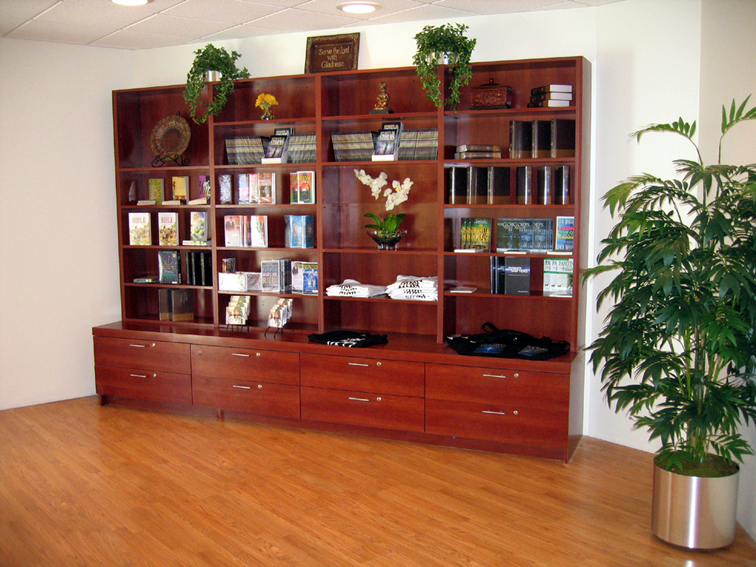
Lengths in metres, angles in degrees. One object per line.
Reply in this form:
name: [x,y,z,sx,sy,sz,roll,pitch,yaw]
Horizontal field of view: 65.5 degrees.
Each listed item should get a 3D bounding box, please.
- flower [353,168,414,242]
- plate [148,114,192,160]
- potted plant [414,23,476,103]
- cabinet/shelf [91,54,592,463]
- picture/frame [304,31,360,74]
flower: [0.046,-0.687,5.361,0.559,0.719,0.407,-1,6,7]
plate: [-2.089,-1.463,5.924,0.504,0.428,0.080,-5,-4,21]
potted plant: [0.553,-1.798,4.884,0.486,0.670,0.179,-2,6,-9]
cabinet/shelf: [-0.191,-0.175,5.263,4.376,2.480,0.810,1,4,19]
picture/frame: [-0.405,-2.127,5.463,0.618,0.359,0.061,1,-1,13]
